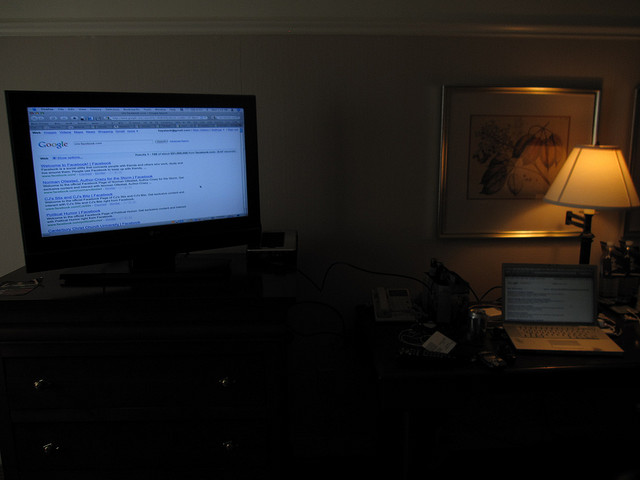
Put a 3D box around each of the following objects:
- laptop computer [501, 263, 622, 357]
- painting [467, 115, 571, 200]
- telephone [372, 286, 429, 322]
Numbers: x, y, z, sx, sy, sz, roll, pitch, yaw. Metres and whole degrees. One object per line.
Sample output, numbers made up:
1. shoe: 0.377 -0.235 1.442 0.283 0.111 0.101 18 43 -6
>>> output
1. laptop computer: 1.083 0.292 2.529 0.465 0.332 0.393 -1 15 0
2. painting: 1.011 -0.433 2.833 0.452 0.371 0.016 0 11 -5
3. telephone: 0.388 0.329 2.778 0.264 0.093 0.287 5 25 11
